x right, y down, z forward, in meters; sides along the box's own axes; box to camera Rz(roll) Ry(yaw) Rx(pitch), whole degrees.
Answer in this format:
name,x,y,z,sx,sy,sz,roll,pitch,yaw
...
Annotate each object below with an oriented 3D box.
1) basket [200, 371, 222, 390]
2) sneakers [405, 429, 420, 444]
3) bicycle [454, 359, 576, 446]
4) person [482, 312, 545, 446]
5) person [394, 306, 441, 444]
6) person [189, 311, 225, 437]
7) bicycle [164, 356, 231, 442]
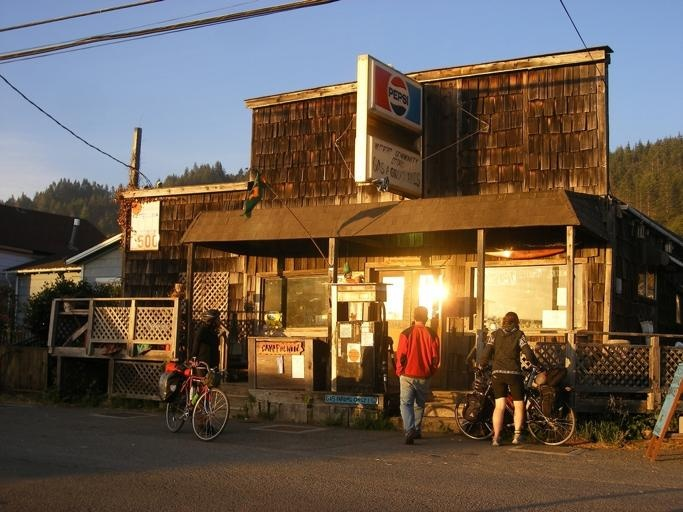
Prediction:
name,x,y,z,sx,sy,sz,roll,pitch,yaw
basket,-2.325,2.219,14.316,0.254,0.303,0.320,4,-1,-14
sneakers,1.244,3.166,13.881,0.149,0.181,0.376,1,-34,-16
bicycle,3.102,2.655,14.551,2.229,1.591,1.118,2,-5,26
person,2.944,2.147,13.991,0.869,2.325,0.458,2,-7,11
person,1.347,2.084,14.216,0.735,2.446,0.570,4,-7,-4
person,-2.918,2.073,16.503,0.421,1.678,1.695,-14,3,-24
bicycle,-2.751,2.553,14.657,2.004,1.392,0.907,2,-13,44
